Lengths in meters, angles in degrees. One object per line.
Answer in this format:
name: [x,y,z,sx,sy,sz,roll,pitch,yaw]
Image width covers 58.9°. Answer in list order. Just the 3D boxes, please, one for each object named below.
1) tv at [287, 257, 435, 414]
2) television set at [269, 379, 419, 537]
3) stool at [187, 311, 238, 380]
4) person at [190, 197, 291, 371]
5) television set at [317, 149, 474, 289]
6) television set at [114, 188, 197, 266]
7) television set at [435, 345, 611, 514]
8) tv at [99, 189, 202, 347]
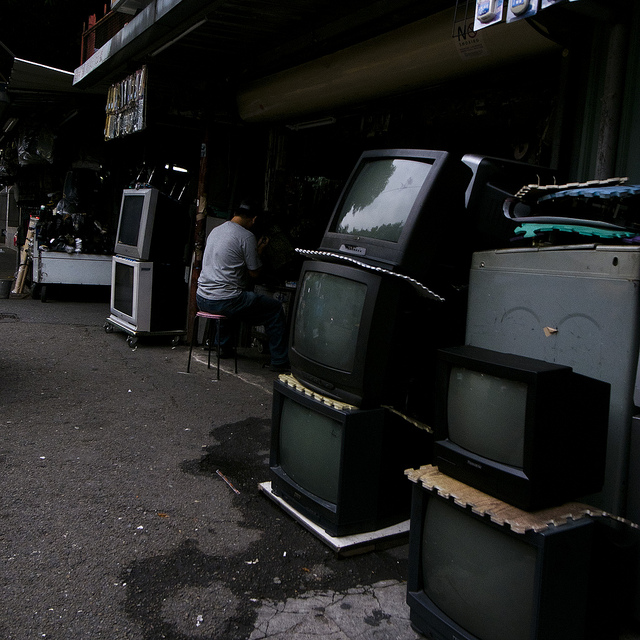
tv: [0.201,0.059,2.756,0.556,0.601,0.558,5,8,-43]
television set: [0.122,0.598,2.748,0.579,0.613,0.596,-1,7,-30]
stool: [-1.000,0.190,5.288,0.420,0.754,0.433,8,8,34]
person: [-0.747,-0.350,5.536,0.870,1.646,1.043,3,7,-21]
television set: [0.329,-0.478,2.563,0.665,0.605,0.414,11,8,37]
television set: [-1.919,-1.037,6.398,0.817,0.940,0.829,9,2,-39]
television set: [0.697,0.240,1.967,0.446,0.559,0.520,-2,5,-26]
tv: [-1.884,-0.582,6.473,0.788,1.741,1.007,2,7,-27]
